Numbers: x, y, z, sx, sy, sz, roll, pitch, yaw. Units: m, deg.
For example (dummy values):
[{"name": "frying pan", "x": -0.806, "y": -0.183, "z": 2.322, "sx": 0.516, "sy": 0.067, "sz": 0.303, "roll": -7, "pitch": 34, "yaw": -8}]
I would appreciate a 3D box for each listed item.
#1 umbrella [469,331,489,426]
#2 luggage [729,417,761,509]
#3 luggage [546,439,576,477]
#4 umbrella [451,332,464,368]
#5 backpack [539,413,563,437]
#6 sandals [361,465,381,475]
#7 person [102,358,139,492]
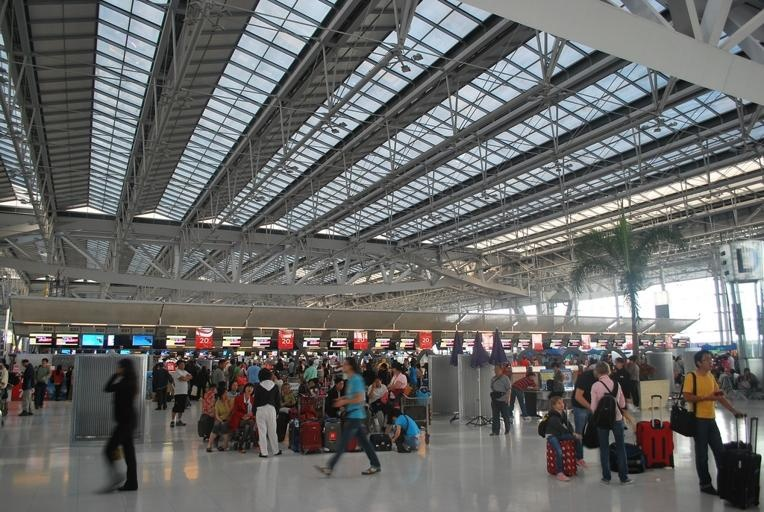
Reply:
[{"name": "umbrella", "x": 3.658, "y": 4.432, "z": 21.431, "sx": 0.658, "sy": 3.197, "sz": 1.624, "roll": -4, "pitch": -12, "yaw": 9}, {"name": "luggage", "x": 7.801, "y": 4.230, "z": 12.509, "sx": 0.657, "sy": 1.657, "sz": 2.871, "roll": -10, "pitch": -13, "yaw": 31}, {"name": "luggage", "x": 4.192, "y": 4.683, "z": 13.740, "sx": 0.797, "sy": 0.966, "sz": 0.751, "roll": 0, "pitch": -6, "yaw": 2}, {"name": "umbrella", "x": 2.929, "y": 3.622, "z": 23.033, "sx": 0.485, "sy": 1.331, "sz": 1.183, "roll": -4, "pitch": -11, "yaw": 5}, {"name": "backpack", "x": 3.855, "y": 3.962, "z": 13.789, "sx": 0.503, "sy": 0.556, "sz": 0.585, "roll": 7, "pitch": -3, "yaw": -19}, {"name": "sandals", "x": -0.246, "y": 4.971, "z": 13.562, "sx": 0.487, "sy": 0.177, "sz": 0.163, "roll": 0, "pitch": -18, "yaw": 0}, {"name": "person", "x": -5.518, "y": 3.553, "z": 12.410, "sx": 0.709, "sy": 2.769, "sz": 1.092, "roll": 3, "pitch": -13, "yaw": -23}]
